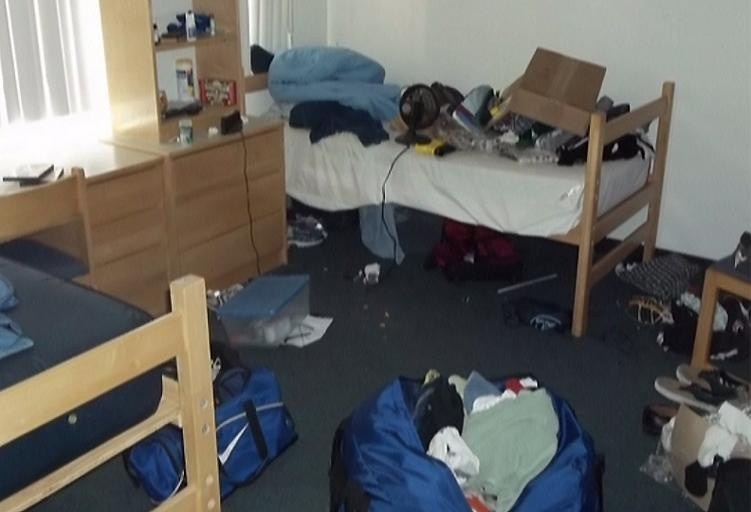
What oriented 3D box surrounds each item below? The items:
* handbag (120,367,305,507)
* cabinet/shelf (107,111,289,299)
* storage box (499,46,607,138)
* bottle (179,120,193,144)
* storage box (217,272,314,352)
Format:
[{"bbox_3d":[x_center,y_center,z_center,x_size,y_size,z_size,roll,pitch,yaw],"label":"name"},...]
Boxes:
[{"bbox_3d":[-0.772,0.795,2.707,0.517,0.349,0.872,9,16,24],"label":"handbag"},{"bbox_3d":[-1.104,-0.348,3.877,0.603,1.066,1.038,20,31,31],"label":"cabinet/shelf"},{"bbox_3d":[1.105,-1.007,3.635,0.501,0.142,0.573,25,75,21],"label":"storage box"},{"bbox_3d":[-1.105,-0.723,3.452,0.071,0.113,0.115,-9,29,-23],"label":"bottle"},{"bbox_3d":[-0.638,0.212,3.575,0.635,0.490,0.325,0,26,5],"label":"storage box"}]
